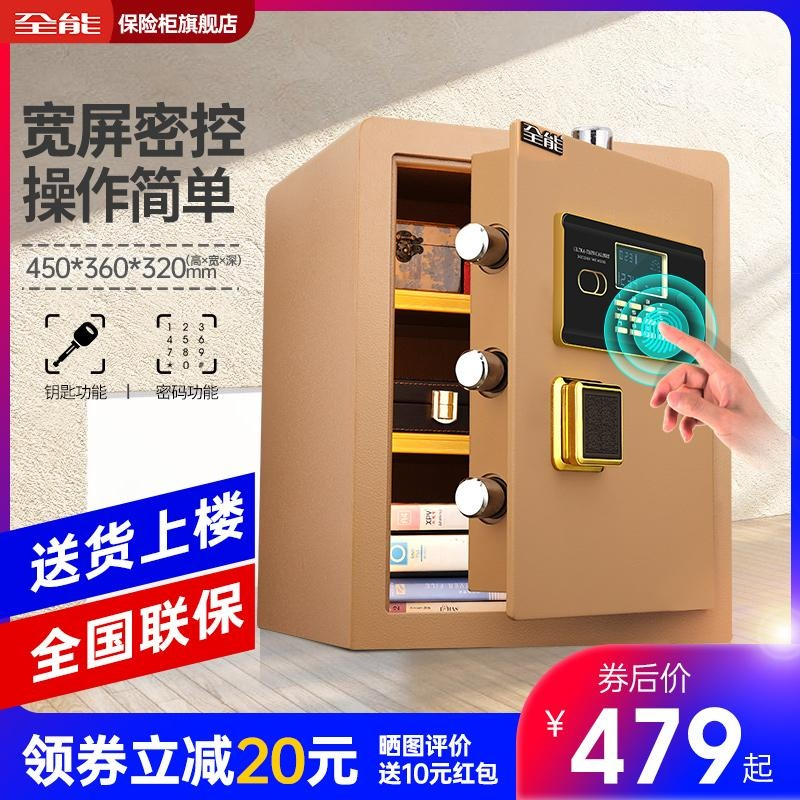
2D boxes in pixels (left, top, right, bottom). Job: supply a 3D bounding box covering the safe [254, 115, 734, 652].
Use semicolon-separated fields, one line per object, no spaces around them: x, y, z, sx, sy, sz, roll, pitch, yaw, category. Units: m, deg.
0.148;-0.010;1.669;0.877;0.931;0.879;0;-4;7;safe
